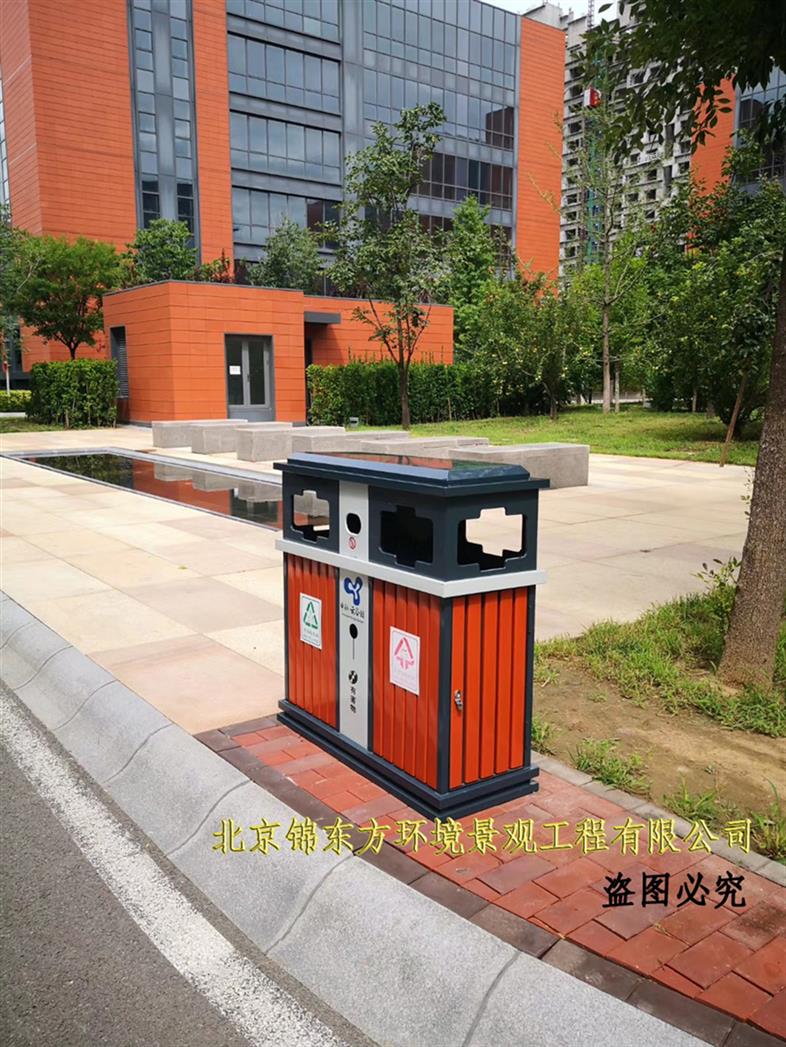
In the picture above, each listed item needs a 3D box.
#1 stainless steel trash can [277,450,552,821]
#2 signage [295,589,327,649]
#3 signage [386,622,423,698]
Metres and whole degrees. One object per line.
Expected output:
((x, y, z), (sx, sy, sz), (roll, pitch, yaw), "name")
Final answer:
((0.054, 0.516, 3.644), (0.528, 1.362, 1.385), (-6, 10, -32), "stainless steel trash can")
((-0.383, 0.444, 4.100), (0.021, 0.292, 0.286), (-1, 4, -22), "signage")
((0.050, 0.531, 3.448), (0.013, 0.317, 0.287), (-4, 9, -30), "signage")
